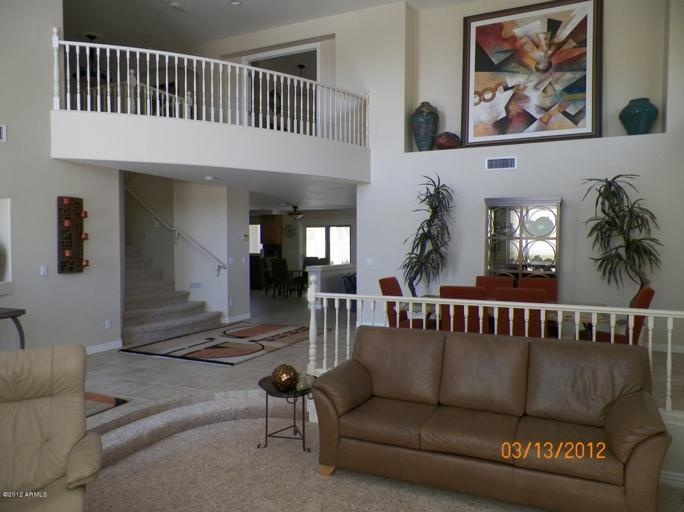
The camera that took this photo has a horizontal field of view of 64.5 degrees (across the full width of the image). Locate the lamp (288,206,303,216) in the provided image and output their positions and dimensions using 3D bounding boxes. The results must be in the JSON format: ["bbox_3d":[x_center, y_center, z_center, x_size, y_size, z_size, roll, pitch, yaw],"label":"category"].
[{"bbox_3d":[-1.422,-1.350,16.266,0.333,0.309,0.325,4,-5,-45],"label":"lamp"}]

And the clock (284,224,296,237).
[{"bbox_3d":[-1.708,-0.813,17.629,0.439,0.433,0.114,10,14,35],"label":"clock"}]

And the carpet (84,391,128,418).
[{"bbox_3d":[-2.691,1.628,6.010,0.293,0.082,0.347,1,-2,23],"label":"carpet"}]

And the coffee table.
[{"bbox_3d":[-0.571,1.621,5.448,0.533,0.626,0.528,2,-18,-1],"label":"coffee table"}]
